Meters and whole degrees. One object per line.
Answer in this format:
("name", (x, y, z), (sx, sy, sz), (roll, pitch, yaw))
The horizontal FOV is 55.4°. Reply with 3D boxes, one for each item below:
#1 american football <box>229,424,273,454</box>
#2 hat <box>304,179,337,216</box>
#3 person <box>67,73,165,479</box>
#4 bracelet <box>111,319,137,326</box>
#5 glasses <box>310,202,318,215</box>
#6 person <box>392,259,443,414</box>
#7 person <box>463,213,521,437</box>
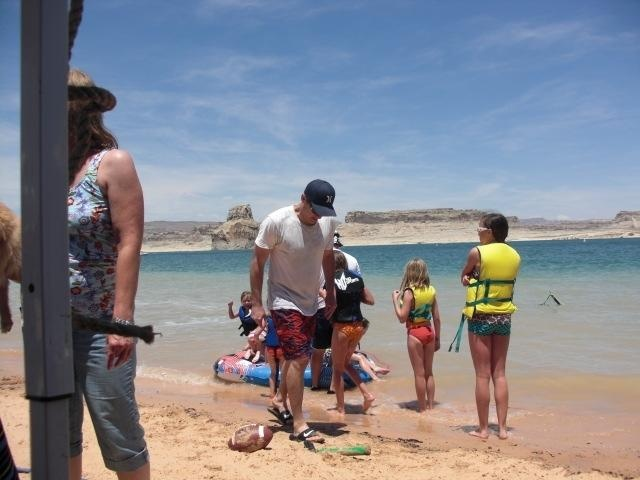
("american football", (-0.598, 1.717, 5.264), (0.334, 0.166, 0.177), (-6, -7, -4))
("hat", (-0.002, -0.359, 5.344), (0.275, 0.299, 0.165), (2, 0, -2))
("person", (-1.214, 0.231, 3.476), (0.545, 1.957, 0.537), (2, 1, -39))
("bracelet", (-1.084, 0.450, 3.333), (0.091, 0.025, 0.188), (1, 0, 20))
("glasses", (-0.057, -0.271, 5.293), (0.032, 0.097, 0.069), (-44, -18, 15))
("person", (1.151, 1.134, 7.286), (0.546, 1.724, 0.804), (2, 0, 10))
("person", (1.728, 0.872, 6.255), (0.552, 2.263, 0.586), (2, 0, 15))
